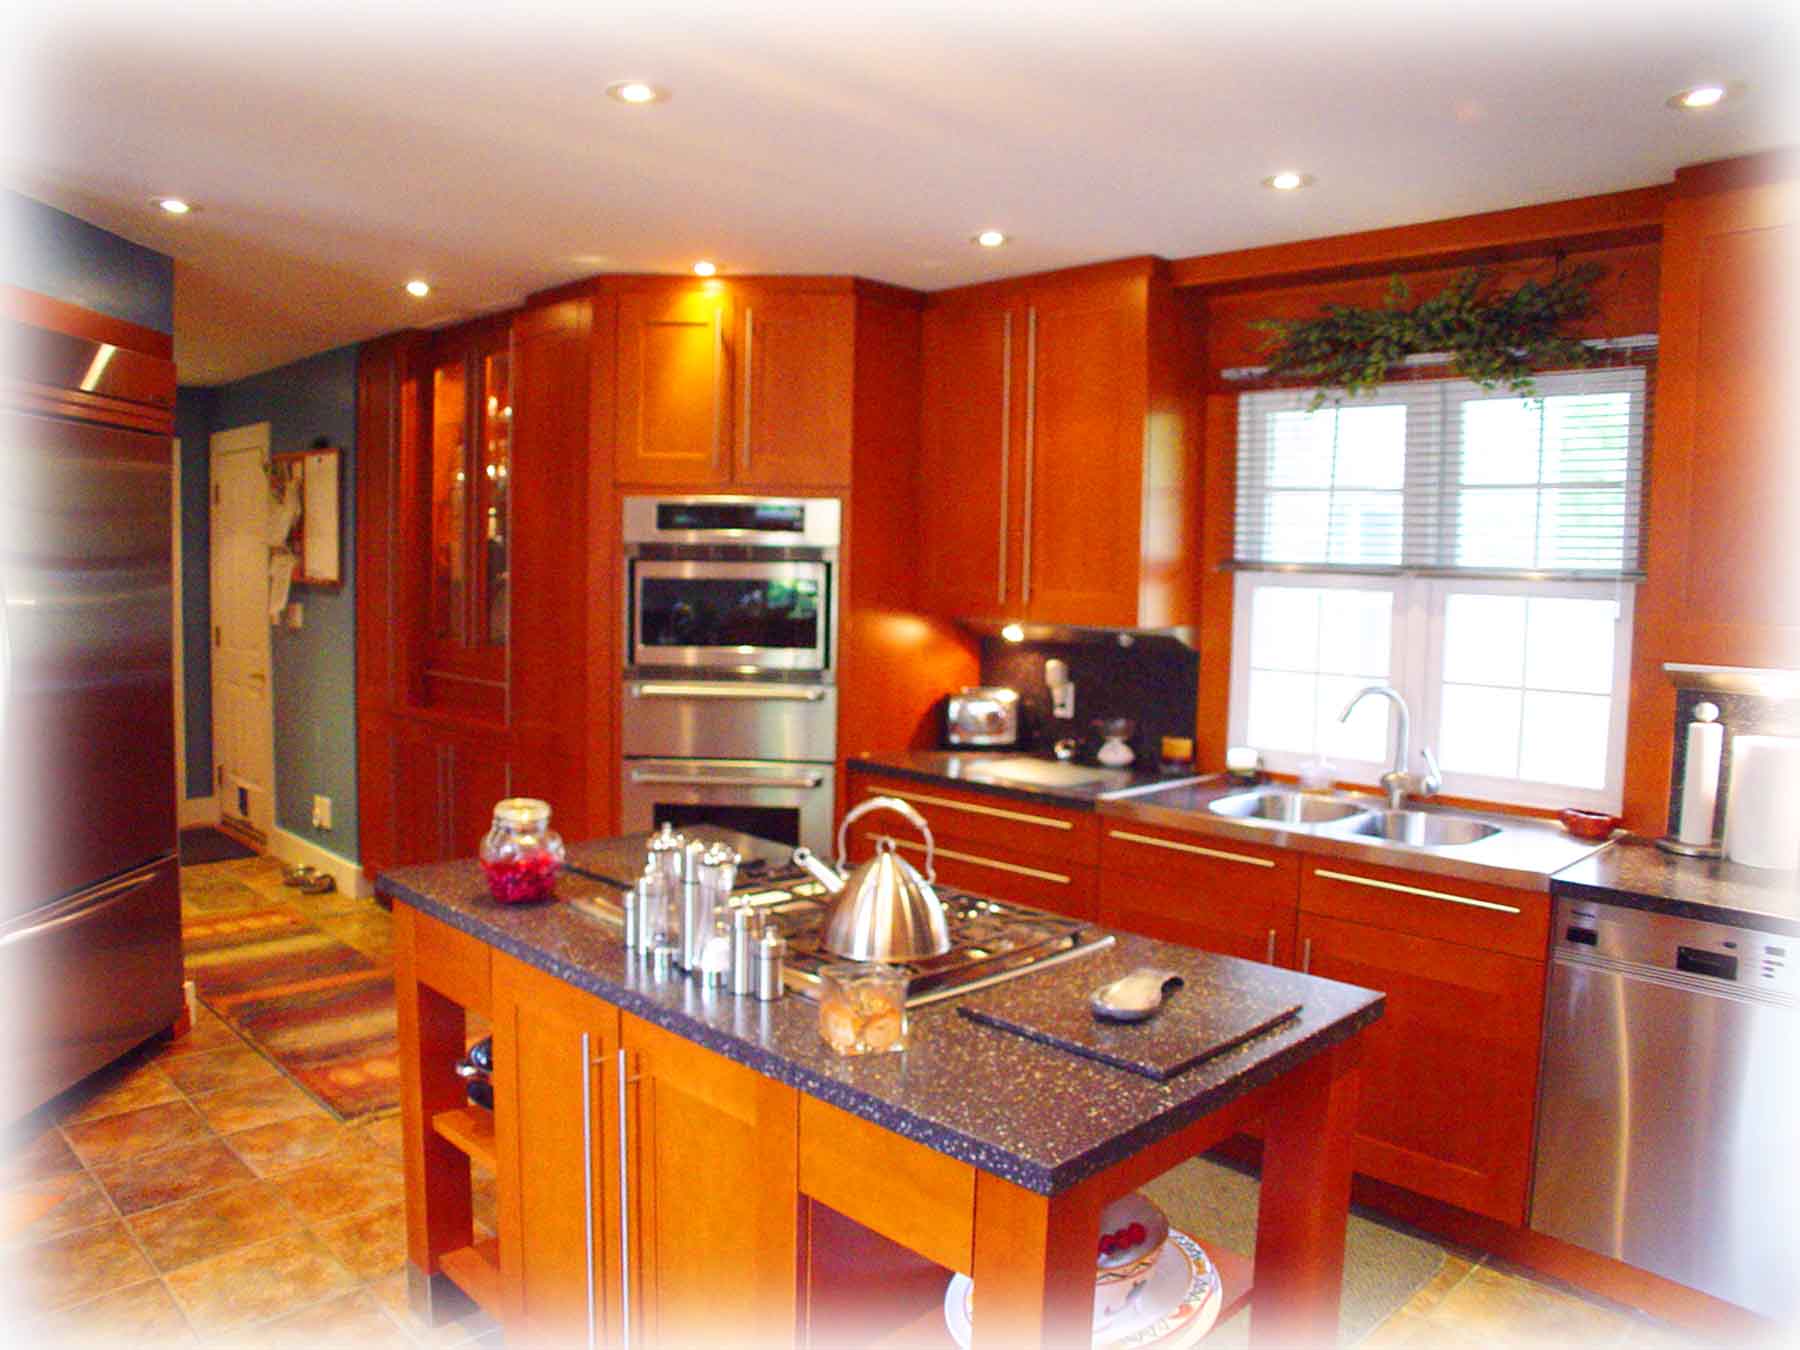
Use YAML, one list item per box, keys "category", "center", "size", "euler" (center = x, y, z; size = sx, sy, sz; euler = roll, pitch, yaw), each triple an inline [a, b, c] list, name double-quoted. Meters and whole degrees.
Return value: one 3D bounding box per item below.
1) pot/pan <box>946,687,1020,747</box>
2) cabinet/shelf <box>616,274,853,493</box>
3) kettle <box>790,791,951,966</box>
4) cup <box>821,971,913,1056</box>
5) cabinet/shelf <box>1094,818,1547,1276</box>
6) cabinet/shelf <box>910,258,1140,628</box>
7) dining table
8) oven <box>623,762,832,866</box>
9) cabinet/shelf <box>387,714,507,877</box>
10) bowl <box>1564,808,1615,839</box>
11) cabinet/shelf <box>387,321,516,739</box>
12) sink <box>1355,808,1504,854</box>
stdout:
- category: "pot/pan"
  center: [0.329, 0.159, 5.441]
  size: [0.263, 0.190, 0.240]
  euler: [0, 6, -12]
- category: "cabinet/shelf"
  center: [-0.543, -1.108, 5.280]
  size: [1.095, 0.766, 0.412]
  euler: [6, 11, 24]
- category: "kettle"
  center: [-0.060, 0.442, 3.055]
  size: [0.404, 0.296, 0.287]
  euler: [-3, 12, -1]
- category: "cup"
  center: [-0.094, 0.670, 2.675]
  size: [0.198, 0.132, 0.192]
  euler: [-2, -9, 0]
- category: "cabinet/shelf"
  center: [1.509, 1.011, 4.439]
  size: [0.887, 0.989, 1.580]
  euler: [4, 2, -42]
- category: "cabinet/shelf"
  center: [0.492, -0.849, 4.979]
  size: [0.296, 1.255, 1.049]
  euler: [-12, 18, -39]
- category: "dining table"
  center: [-0.204, 1.146, 3.146]
  size: [2.175, 1.098, 0.906]
  euler: [9, 16, 32]
- category: "oven"
  center: [-0.640, 0.472, 5.218]
  size: [0.679, 0.377, 0.415]
  euler: [1, -2, -20]
- category: "cabinet/shelf"
  center: [-2.182, 0.584, 6.183]
  size: [0.317, 0.686, 0.818]
  euler: [-12, -13, 25]
- category: "bowl"
  center: [2.102, 0.449, 4.098]
  size: [0.149, 0.063, 0.138]
  euler: [1, 12, 0]
- category: "cabinet/shelf"
  center: [-2.024, -0.691, 6.155]
  size: [0.452, 1.766, 0.854]
  euler: [-8, 17, -30]
- category: "sink"
  center: [1.672, 0.490, 4.332]
  size: [0.248, 0.076, 0.203]
  euler: [4, 10, 31]
